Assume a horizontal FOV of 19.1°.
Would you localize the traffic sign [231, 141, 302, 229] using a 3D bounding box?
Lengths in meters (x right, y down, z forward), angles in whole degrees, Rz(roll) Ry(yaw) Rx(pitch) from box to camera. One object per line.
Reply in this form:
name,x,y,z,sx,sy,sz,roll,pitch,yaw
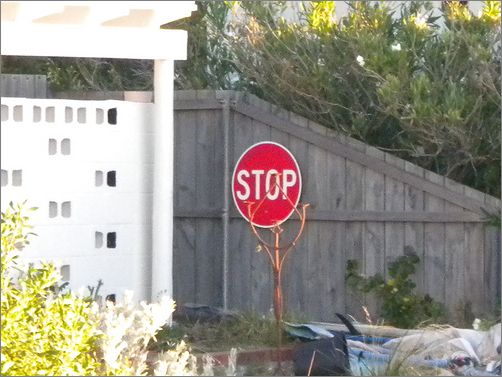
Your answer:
traffic sign,0.210,-0.033,16.539,0.861,1.120,0.043,0,-1,28
